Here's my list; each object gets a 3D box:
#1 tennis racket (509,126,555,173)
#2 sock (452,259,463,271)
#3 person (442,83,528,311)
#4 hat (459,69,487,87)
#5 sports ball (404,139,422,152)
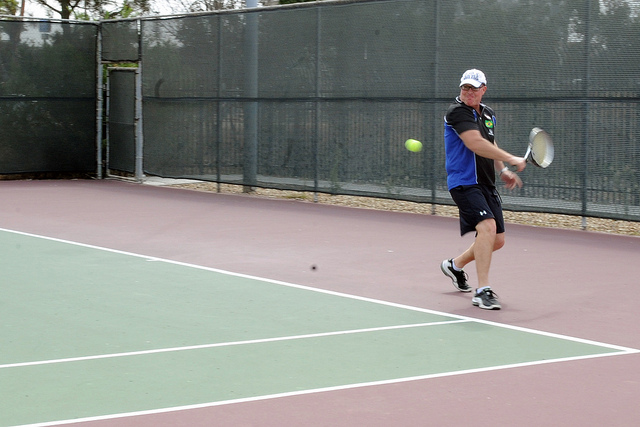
[{"bbox_3d":[2.342,-0.687,6.208,0.218,0.431,0.655,6,14,25],"label":"tennis racket"},{"bbox_3d":[1.652,0.636,7.018,0.124,0.130,0.085,2,14,9],"label":"sock"},{"bbox_3d":[1.795,-0.202,6.574,0.835,2.519,1.117,2,15,10],"label":"person"},{"bbox_3d":[1.702,-1.516,6.490,0.251,0.186,0.273,2,13,10],"label":"hat"},{"bbox_3d":[1.899,-1.405,11.985,0.333,0.126,0.291,9,9,12],"label":"sports ball"}]
